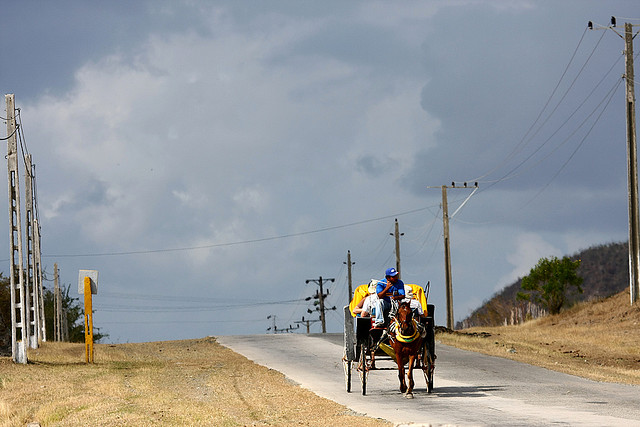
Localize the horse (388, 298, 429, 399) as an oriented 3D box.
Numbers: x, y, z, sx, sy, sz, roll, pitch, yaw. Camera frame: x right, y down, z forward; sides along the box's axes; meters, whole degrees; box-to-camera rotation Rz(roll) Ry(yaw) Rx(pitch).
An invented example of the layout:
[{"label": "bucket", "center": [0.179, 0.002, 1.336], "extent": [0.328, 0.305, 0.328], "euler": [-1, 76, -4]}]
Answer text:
[{"label": "horse", "center": [3.949, 6.304, 52.176], "extent": [1.574, 4.488, 1.031], "euler": [-1, 3, -22]}]
